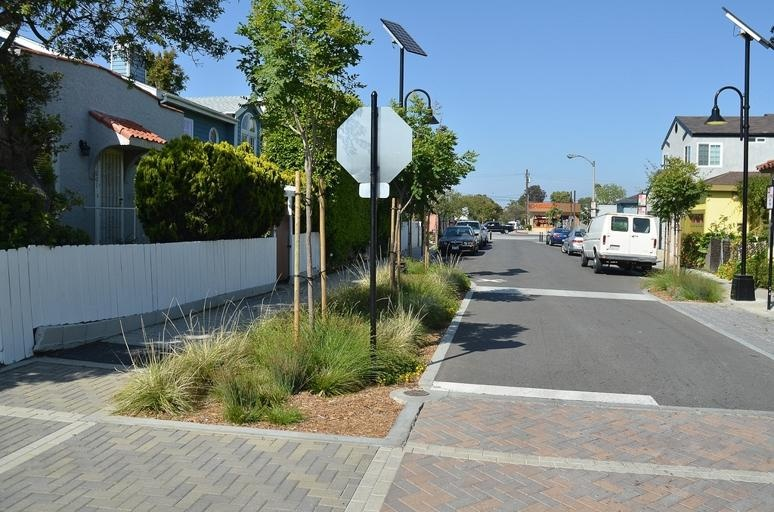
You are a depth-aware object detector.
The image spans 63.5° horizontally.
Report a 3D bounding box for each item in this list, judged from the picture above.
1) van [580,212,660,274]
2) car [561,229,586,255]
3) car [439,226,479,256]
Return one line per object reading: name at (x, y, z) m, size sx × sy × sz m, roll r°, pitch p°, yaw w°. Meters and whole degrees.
van at (9.536, -0.699, 26.079) m, size 1.901 × 1.870 × 3.431 m, roll 1°, pitch 4°, yaw -1°
car at (11.689, -0.815, 39.142) m, size 1.469 × 1.274 × 3.683 m, roll 0°, pitch 6°, yaw 5°
car at (4.206, -0.852, 37.100) m, size 2.114 × 1.448 × 3.319 m, roll 3°, pitch 10°, yaw 3°
